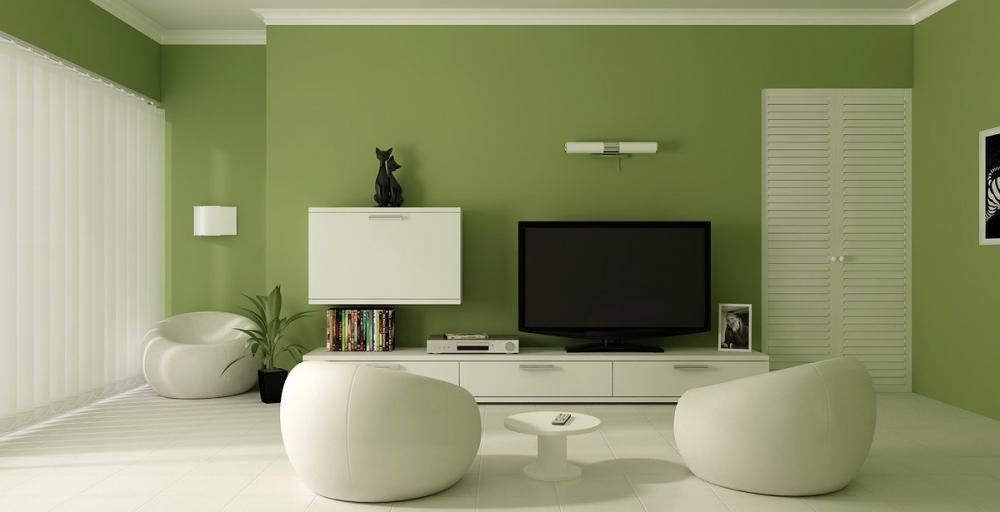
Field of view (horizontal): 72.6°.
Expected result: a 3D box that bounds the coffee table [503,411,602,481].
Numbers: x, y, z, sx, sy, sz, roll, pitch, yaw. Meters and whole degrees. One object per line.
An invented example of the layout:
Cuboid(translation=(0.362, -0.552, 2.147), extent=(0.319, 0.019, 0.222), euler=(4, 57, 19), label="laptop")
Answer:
Cuboid(translation=(0.480, 1.790, 6.396), extent=(0.868, 0.567, 0.459), euler=(-1, 1, 0), label="coffee table")

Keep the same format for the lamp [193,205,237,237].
Cuboid(translation=(-3.610, -0.451, 8.818), extent=(0.772, 0.466, 0.374), euler=(0, 4, -4), label="lamp")

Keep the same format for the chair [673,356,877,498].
Cuboid(translation=(2.410, 1.480, 6.246), extent=(1.529, 0.811, 1.430), euler=(4, -6, -34), label="chair")

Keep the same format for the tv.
Cuboid(translation=(1.339, 0.312, 8.033), extent=(1.921, 1.073, 0.452), euler=(0, 0, 2), label="tv")

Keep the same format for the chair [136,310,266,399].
Cuboid(translation=(-3.535, 1.229, 8.414), extent=(1.267, 0.625, 1.149), euler=(0, -10, 7), label="chair")

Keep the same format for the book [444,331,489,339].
Cuboid(translation=(-0.401, 0.949, 8.086), extent=(0.493, 0.040, 0.347), euler=(-1, 0, 0), label="book")

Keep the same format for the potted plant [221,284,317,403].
Cuboid(translation=(-2.753, 1.083, 8.532), extent=(1.388, 1.285, 1.335), euler=(0, 0, -29), label="potted plant")

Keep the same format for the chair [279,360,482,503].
Cuboid(translation=(-0.973, 1.553, 6.208), extent=(1.498, 0.767, 1.446), euler=(-1, -2, 27), label="chair")
